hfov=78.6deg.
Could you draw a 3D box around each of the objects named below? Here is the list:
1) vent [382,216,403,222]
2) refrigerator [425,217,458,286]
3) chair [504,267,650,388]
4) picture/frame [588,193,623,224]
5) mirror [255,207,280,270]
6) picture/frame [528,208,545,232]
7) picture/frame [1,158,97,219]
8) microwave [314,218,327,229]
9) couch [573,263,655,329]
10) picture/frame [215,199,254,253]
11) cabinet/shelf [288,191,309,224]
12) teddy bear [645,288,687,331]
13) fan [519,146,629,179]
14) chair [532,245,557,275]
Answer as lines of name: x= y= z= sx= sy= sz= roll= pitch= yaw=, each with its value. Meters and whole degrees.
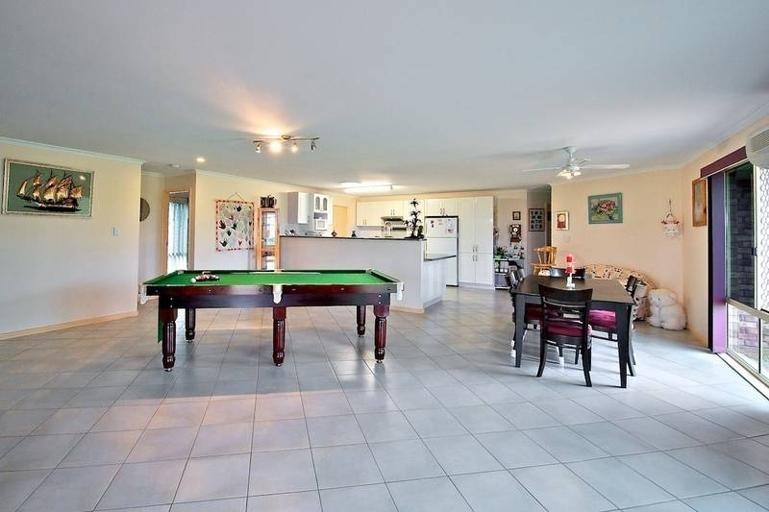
vent: x=0.202 y=-0.933 z=11.930 sx=0.585 sy=0.144 sz=0.133 roll=1 pitch=4 yaw=37
refrigerator: x=1.359 y=-0.135 z=11.246 sx=0.849 sy=1.688 sz=0.235 roll=1 pitch=4 yaw=34
chair: x=2.229 y=0.885 z=5.549 sx=1.183 sy=0.796 sz=1.600 roll=-1 pitch=-2 yaw=29
picture/frame: x=4.029 y=-0.860 z=8.517 sx=0.055 sy=0.525 sz=0.638 roll=-3 pitch=1 yaw=-27
mirror: x=-2.403 y=-0.363 z=9.636 sx=0.476 sy=1.218 sz=0.229 roll=-2 pitch=3 yaw=-15
picture/frame: x=3.506 y=-0.861 z=10.829 sx=0.560 sy=0.711 sz=0.074 roll=0 pitch=4 yaw=-1
picture/frame: x=-4.760 y=-0.951 z=6.602 sx=0.039 sy=0.677 sz=1.022 roll=8 pitch=5 yaw=43
microwave: x=-1.413 y=-0.705 z=10.409 sx=0.203 sy=0.246 sz=0.371 roll=-1 pitch=-2 yaw=26
couch: x=3.867 y=0.666 z=7.905 sx=1.056 sy=0.509 sz=1.040 roll=2 pitch=6 yaw=17
picture/frame: x=-2.932 y=-0.598 z=9.124 sx=0.081 sy=1.144 sz=1.106 roll=6 pitch=5 yaw=34
cabinet/shelf: x=-1.822 y=-1.039 z=10.097 sx=0.460 sy=0.647 sz=0.242 roll=-1 pitch=3 yaw=-13
teddy bear: x=4.381 y=0.849 z=7.449 sx=0.550 sy=0.695 sz=0.630 roll=5 pitch=-7 yaw=14
fan: x=2.785 y=-1.344 z=7.067 sx=0.752 sy=0.257 sz=0.740 roll=-2 pitch=-1 yaw=-44
chair: x=3.276 y=0.092 z=9.597 sx=0.566 sy=0.750 sz=0.575 roll=-3 pitch=-9 yaw=30
